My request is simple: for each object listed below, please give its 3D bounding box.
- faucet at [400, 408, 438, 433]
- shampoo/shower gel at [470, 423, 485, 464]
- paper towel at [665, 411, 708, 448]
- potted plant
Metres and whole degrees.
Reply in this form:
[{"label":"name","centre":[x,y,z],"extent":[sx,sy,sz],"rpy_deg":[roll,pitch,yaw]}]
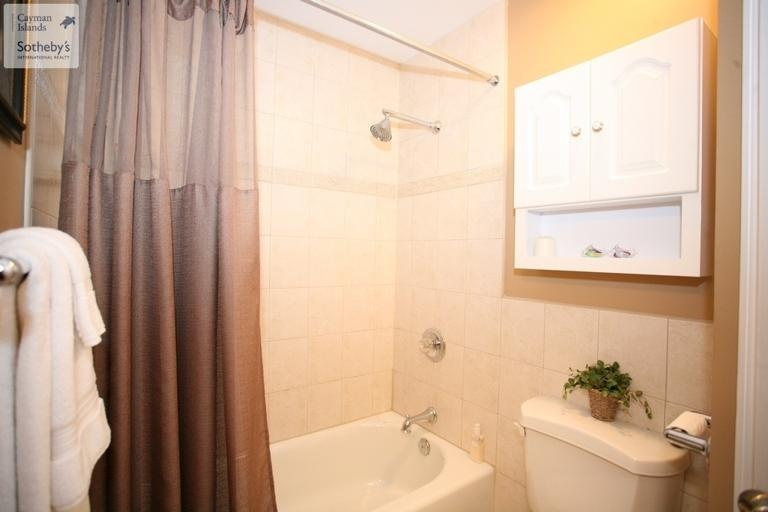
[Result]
[{"label":"faucet","centre":[0.200,0.890,3.159],"extent":[0.207,0.127,0.100],"rpy_deg":[-1,-2,-27]},{"label":"shampoo/shower gel","centre":[0.473,0.931,2.887],"extent":[0.058,0.186,0.076],"rpy_deg":[-1,5,-30]},{"label":"paper towel","centre":[1.162,0.655,2.168],"extent":[0.142,0.050,0.140],"rpy_deg":[-11,2,-39]},{"label":"potted plant","centre":[0.964,0.590,2.494],"extent":[0.243,0.236,0.325],"rpy_deg":[16,-6,-40]}]
